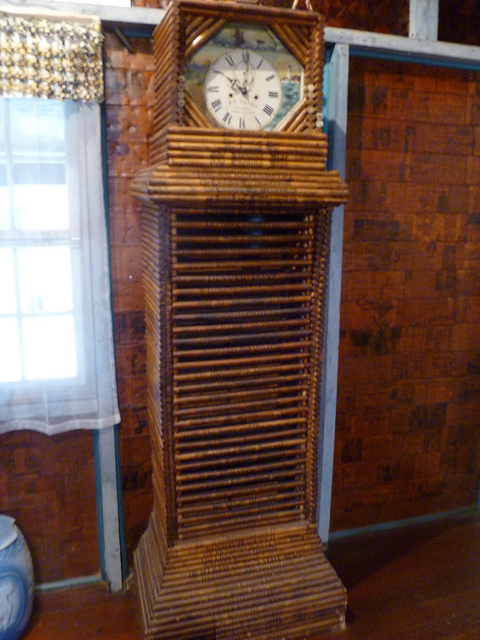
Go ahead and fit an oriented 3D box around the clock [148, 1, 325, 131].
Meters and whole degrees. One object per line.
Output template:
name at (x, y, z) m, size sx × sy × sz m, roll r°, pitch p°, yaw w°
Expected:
clock at (0.025, -0.806, 2.159) m, size 0.529 × 0.398 × 0.168 m, roll -1°, pitch 11°, yaw -26°
